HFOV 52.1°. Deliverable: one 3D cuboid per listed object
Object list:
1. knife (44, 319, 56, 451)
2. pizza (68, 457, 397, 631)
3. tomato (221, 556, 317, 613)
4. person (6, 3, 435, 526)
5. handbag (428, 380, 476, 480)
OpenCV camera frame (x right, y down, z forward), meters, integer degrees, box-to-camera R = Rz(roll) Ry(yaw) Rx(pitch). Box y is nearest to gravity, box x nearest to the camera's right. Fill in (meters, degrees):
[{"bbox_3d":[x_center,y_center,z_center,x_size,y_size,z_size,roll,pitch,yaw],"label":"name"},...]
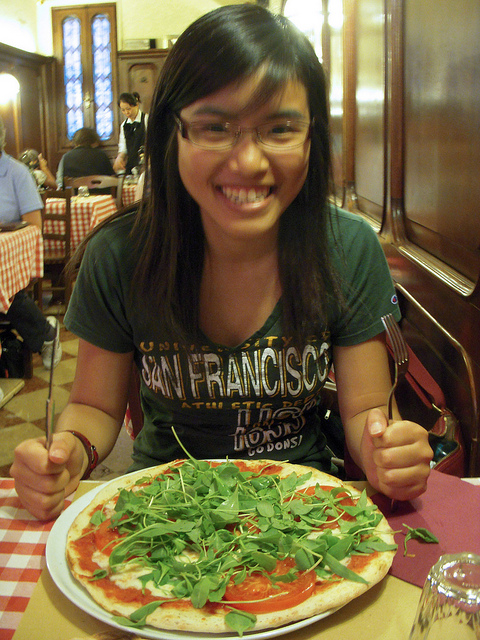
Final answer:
[{"bbox_3d":[-0.234,0.103,0.608,0.008,0.108,0.005,5,-7,-28],"label":"knife"},{"bbox_3d":[-0.025,0.238,0.561,0.384,0.053,0.277,1,14,18],"label":"pizza"},{"bbox_3d":[0.033,0.261,0.478,0.096,0.018,0.049,-4,13,-4],"label":"tomato"},{"bbox_3d":[-0.042,-0.090,0.923,0.705,0.845,0.495,-7,13,-15],"label":"person"},{"bbox_3d":[0.518,0.267,1.187,0.092,0.234,0.174,-10,21,14],"label":"handbag"}]
